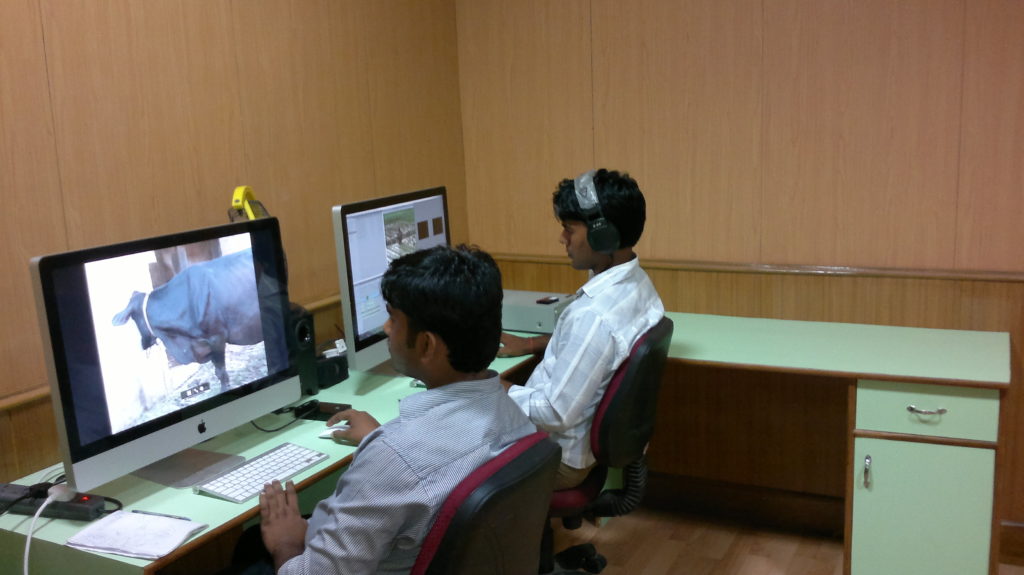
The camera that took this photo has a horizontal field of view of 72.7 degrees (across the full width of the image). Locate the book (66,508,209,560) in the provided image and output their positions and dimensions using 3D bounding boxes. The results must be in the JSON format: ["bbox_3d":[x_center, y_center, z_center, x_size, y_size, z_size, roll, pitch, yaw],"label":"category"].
[{"bbox_3d":[-1.299,0.861,2.431,0.439,0.072,0.171,3,13,12],"label":"book"}]

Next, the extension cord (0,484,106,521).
[{"bbox_3d":[-1.656,0.782,2.528,0.354,0.065,0.103,6,17,10],"label":"extension cord"}]

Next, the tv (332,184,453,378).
[{"bbox_3d":[-0.497,-0.019,2.880,0.187,0.707,0.807,2,15,27],"label":"tv"}]

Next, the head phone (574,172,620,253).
[{"bbox_3d":[0.391,-0.375,3.226,0.140,0.359,0.404,-20,19,18],"label":"head phone"}]

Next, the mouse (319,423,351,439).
[{"bbox_3d":[-0.732,0.596,2.895,0.086,0.026,0.051,-5,4,-7],"label":"mouse"}]

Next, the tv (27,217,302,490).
[{"bbox_3d":[-1.337,0.272,2.649,0.273,0.766,0.853,-10,7,44],"label":"tv"}]

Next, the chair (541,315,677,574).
[{"bbox_3d":[0.412,0.770,3.118,0.554,1.263,0.382,1,13,6],"label":"chair"}]
